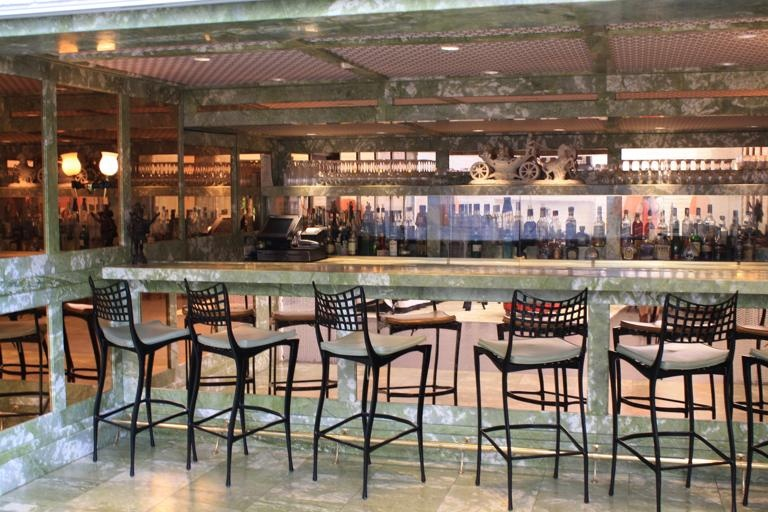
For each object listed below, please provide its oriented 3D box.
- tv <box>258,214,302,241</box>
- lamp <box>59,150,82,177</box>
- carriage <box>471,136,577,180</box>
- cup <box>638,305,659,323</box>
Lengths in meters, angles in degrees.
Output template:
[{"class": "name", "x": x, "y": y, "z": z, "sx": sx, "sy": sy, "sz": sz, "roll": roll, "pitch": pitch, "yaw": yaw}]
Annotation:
[{"class": "tv", "x": -0.999, "y": -0.284, "z": 6.866, "sx": 0.347, "sy": 0.202, "sz": 0.308, "roll": 3, "pitch": 14, "yaw": 15}, {"class": "lamp", "x": -2.581, "y": -0.775, "z": 5.901, "sx": 0.195, "sy": 0.200, "sz": 0.180, "roll": -7, "pitch": 4, "yaw": -17}, {"class": "carriage", "x": 1.530, "y": -1.037, "z": 7.721, "sx": 1.145, "sy": 0.413, "sz": 0.334, "roll": 6, "pitch": 15, "yaw": 34}, {"class": "cup", "x": 2.078, "y": 0.451, "z": 5.550, "sx": 0.141, "sy": 0.151, "sz": 0.149, "roll": 2, "pitch": 8, "yaw": 0}]
